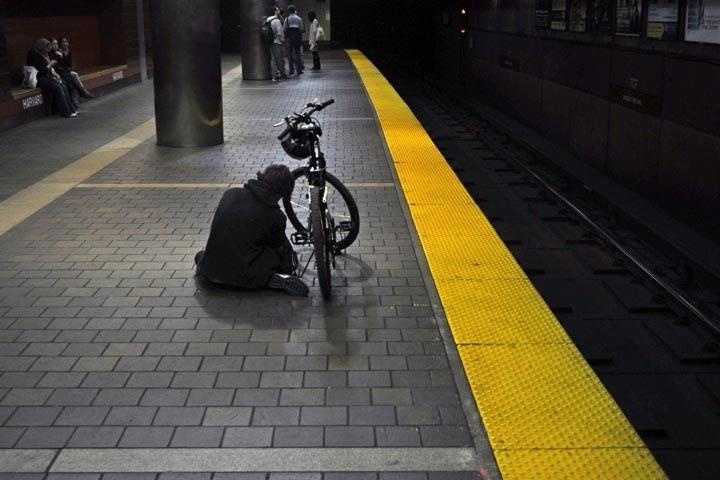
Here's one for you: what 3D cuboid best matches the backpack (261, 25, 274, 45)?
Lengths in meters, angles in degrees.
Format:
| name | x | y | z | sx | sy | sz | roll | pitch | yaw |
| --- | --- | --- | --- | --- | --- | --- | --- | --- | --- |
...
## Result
| name | x | y | z | sx | sy | sz | roll | pitch | yaw |
| --- | --- | --- | --- | --- | --- | --- | --- | --- | --- |
| backpack | -3.873 | -8.596 | 19.903 | 0.496 | 0.705 | 0.370 | 1 | 29 | 2 |

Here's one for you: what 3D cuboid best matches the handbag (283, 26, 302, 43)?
| name | x | y | z | sx | sy | sz | roll | pitch | yaw |
| --- | --- | --- | --- | --- | --- | --- | --- | --- | --- |
| handbag | -3.030 | -9.371 | 21.810 | 1.098 | 0.547 | 0.795 | 3 | 23 | 0 |

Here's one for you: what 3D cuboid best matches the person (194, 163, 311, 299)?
| name | x | y | z | sx | sy | sz | roll | pitch | yaw |
| --- | --- | --- | --- | --- | --- | --- | --- | --- | --- |
| person | -1.151 | -0.047 | 5.186 | 1.579 | 1.111 | 0.958 | 10 | 25 | 5 |

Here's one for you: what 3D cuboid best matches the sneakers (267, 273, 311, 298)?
| name | x | y | z | sx | sy | sz | roll | pitch | yaw |
| --- | --- | --- | --- | --- | --- | --- | --- | --- | --- |
| sneakers | -0.707 | 0.437 | 4.818 | 0.483 | 0.161 | 0.196 | 14 | 19 | 16 |
